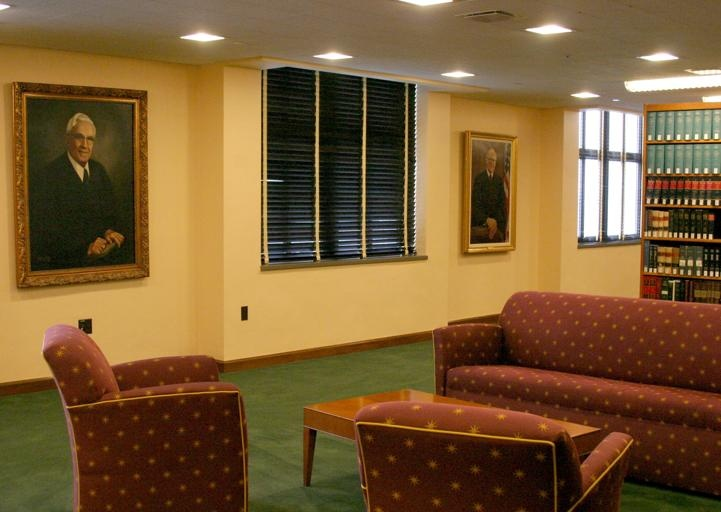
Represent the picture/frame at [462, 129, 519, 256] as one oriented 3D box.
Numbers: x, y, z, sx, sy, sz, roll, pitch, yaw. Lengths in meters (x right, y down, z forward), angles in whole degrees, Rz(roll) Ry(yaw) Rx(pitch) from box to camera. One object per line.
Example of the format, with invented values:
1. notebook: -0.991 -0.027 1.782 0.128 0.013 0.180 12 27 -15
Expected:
1. picture/frame: 1.971 -0.968 8.376 1.135 1.791 0.218 -4 6 -41
